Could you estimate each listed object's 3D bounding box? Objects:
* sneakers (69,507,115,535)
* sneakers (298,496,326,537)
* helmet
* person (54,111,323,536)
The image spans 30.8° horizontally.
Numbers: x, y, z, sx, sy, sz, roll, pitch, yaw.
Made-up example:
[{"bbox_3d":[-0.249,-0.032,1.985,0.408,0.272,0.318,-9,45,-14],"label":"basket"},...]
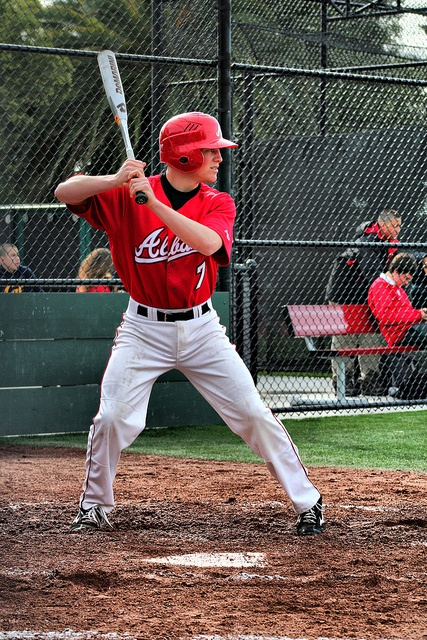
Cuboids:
[{"bbox_3d":[-0.457,0.740,2.862,0.210,0.087,0.070,8,-14,-40],"label":"sneakers"},{"bbox_3d":[0.367,0.740,2.912,0.065,0.072,0.168,8,17,2],"label":"sneakers"},{"bbox_3d":[-0.059,-0.645,2.815,0.273,0.187,0.207,2,3,16],"label":"helmet"},{"bbox_3d":[-0.112,0.043,2.856,0.952,1.600,0.531,1,13,-11],"label":"person"}]
